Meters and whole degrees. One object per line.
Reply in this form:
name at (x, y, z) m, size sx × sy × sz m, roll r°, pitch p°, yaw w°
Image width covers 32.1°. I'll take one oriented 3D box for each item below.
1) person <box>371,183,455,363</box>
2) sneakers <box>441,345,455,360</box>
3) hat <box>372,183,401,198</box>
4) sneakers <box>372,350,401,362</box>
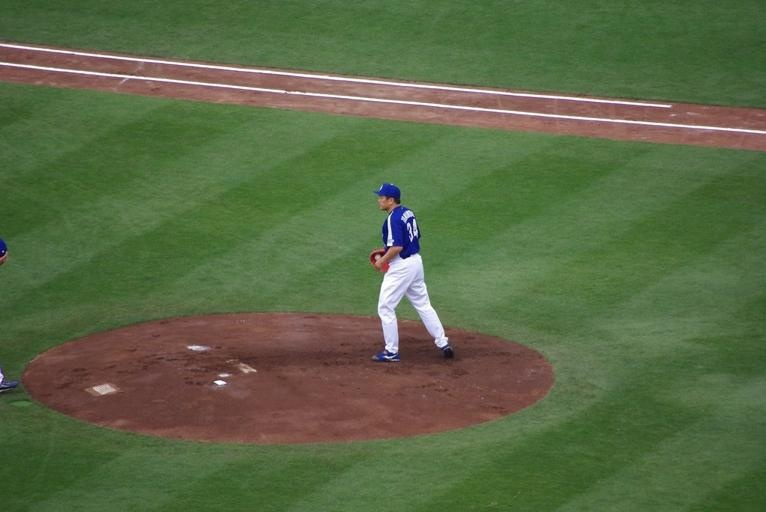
person at (0.313, 0.222, 20.081) m, size 1.156 × 2.573 × 1.335 m, roll -5°, pitch 18°, yaw 2°
sneakers at (0.943, 1.452, 20.093) m, size 0.225 × 0.195 × 0.232 m, roll 5°, pitch -7°, yaw -7°
hat at (0.087, -0.981, 20.139) m, size 0.506 × 0.174 × 0.289 m, roll 2°, pitch 9°, yaw 2°
sneakers at (0.040, 1.517, 19.970) m, size 0.473 × 0.140 × 0.155 m, roll 3°, pitch 1°, yaw -2°
